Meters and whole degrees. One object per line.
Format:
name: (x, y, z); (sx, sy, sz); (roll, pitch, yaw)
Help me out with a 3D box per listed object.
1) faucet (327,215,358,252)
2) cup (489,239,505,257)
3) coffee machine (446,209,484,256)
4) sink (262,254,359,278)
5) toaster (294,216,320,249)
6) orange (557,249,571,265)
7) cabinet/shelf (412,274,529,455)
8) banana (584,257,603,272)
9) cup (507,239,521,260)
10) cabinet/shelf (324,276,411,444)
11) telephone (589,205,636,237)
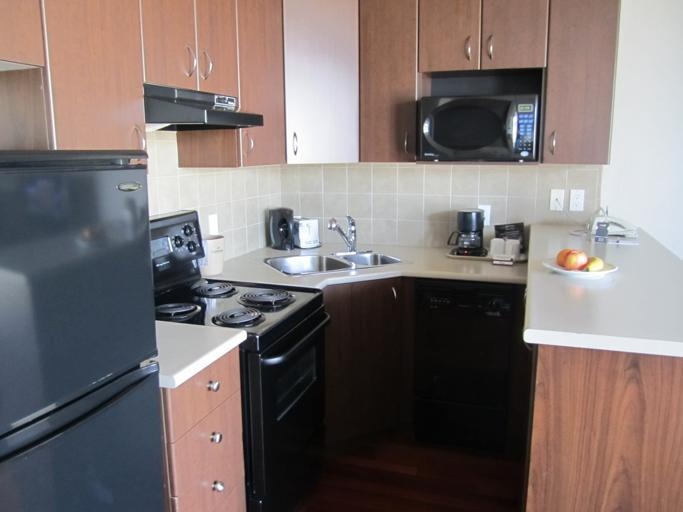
faucet: (0.003, -0.121, 3.079); (0.062, 0.220, 0.256); (5, 1, 41)
cup: (0.837, -0.042, 2.838); (0.077, 0.094, 0.090); (1, 9, 18)
coffee machine: (0.737, -0.130, 3.056); (0.244, 0.248, 0.221); (2, 9, -2)
sink: (-0.193, 0.050, 2.993); (0.480, 0.096, 0.183); (-3, 9, -10)
toaster: (-0.217, -0.140, 3.295); (0.147, 0.170, 0.229); (-2, 7, -11)
orange: (0.859, 0.000, 2.074); (0.049, 0.062, 0.052); (-14, 7, 5)
cabinet/shelf: (0.687, 0.534, 2.997); (0.494, 0.975, 0.621); (3, 16, 17)
banana: (0.971, 0.026, 2.031); (0.045, 0.021, 0.073); (4, 19, 24)
cup: (0.914, -0.032, 2.813); (0.051, 0.091, 0.095); (4, 6, 38)
cabinet/shelf: (0.109, 0.565, 3.010); (0.563, 0.947, 0.584); (-2, 3, -22)
telephone: (1.419, -0.162, 2.745); (0.301, 0.169, 0.099); (0, 9, 13)
